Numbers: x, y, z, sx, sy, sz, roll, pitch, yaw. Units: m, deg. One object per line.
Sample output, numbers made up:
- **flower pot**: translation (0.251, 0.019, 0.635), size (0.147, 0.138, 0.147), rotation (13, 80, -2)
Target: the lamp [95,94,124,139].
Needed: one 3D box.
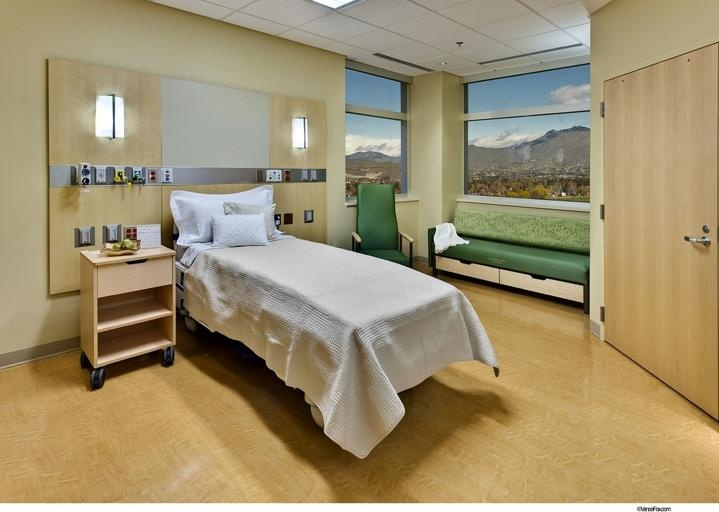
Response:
- **lamp**: translation (-2.475, -1.385, 4.203), size (0.259, 0.412, 0.107), rotation (-6, 12, -27)

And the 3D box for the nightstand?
- **nightstand**: translation (-2.225, 0.490, 4.069), size (0.592, 1.085, 0.745), rotation (15, 16, 40)

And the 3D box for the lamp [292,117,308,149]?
- **lamp**: translation (-0.768, -1.637, 5.661), size (0.224, 0.378, 0.238), rotation (1, 14, 6)

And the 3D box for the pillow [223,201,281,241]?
- **pillow**: translation (-1.236, -0.381, 4.898), size (0.476, 0.448, 0.141), rotation (-4, -13, -45)

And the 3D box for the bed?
- **bed**: translation (-0.235, 0.613, 3.692), size (2.411, 1.085, 1.424), rotation (9, 14, 41)
